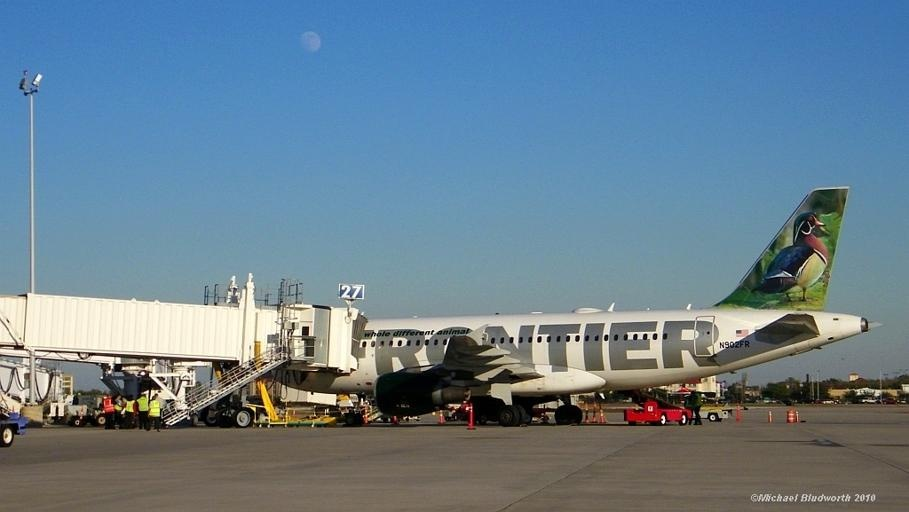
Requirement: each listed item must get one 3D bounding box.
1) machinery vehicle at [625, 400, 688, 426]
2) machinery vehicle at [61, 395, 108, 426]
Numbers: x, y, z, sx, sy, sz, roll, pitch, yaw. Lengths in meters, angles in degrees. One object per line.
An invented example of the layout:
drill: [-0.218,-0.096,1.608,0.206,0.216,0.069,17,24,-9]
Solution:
machinery vehicle: [9.450,7.299,61.256,2.447,0.719,1.260,1,-6,-9]
machinery vehicle: [-18.616,7.790,66.549,2.159,1.173,1.156,-5,-4,-37]
